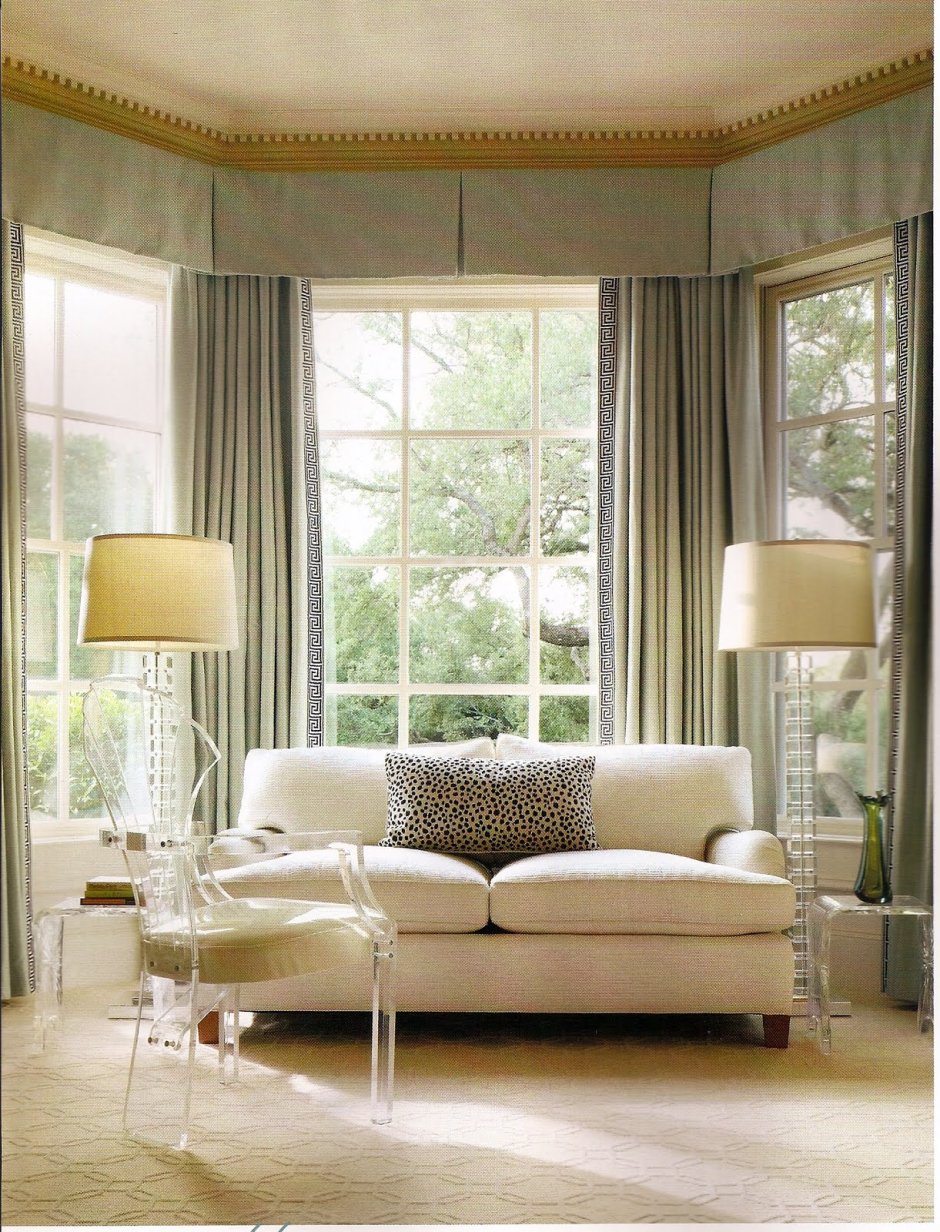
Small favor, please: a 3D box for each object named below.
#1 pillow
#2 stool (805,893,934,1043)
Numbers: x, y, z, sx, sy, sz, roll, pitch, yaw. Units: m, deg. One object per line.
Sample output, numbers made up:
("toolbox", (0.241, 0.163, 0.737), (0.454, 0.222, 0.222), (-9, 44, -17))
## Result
("pillow", (0.038, 0.560, 3.500), (0.615, 0.284, 0.164), (1, -4, 6))
("stool", (1.081, 0.930, 3.263), (0.427, 0.359, 0.410), (-1, 5, 7))
